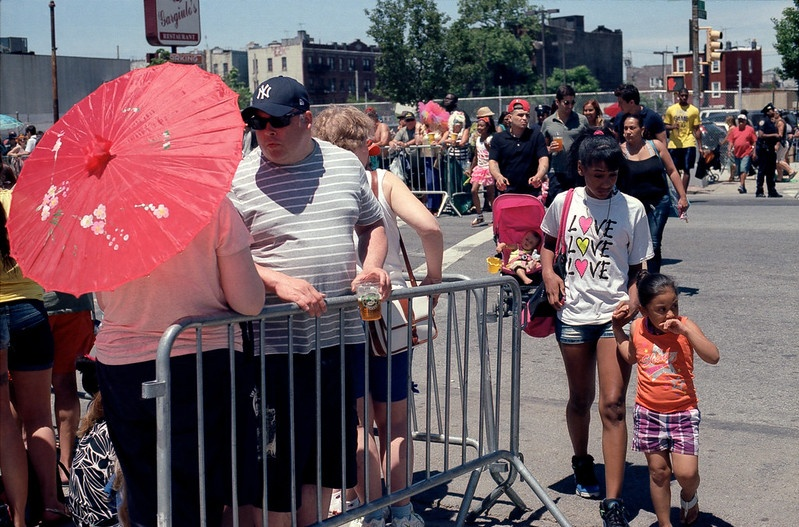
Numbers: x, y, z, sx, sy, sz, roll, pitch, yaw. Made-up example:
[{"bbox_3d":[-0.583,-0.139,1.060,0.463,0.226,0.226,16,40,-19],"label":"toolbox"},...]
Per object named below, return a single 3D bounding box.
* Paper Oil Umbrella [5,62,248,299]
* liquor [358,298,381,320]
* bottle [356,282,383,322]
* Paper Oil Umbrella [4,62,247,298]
[{"bbox_3d":[-1.526,-0.486,6.355,1.234,1.350,0.335,-18,-30,21],"label":"Paper Oil Umbrella"},{"bbox_3d":[-0.181,0.293,6.980,0.123,0.130,0.115,0,5,17],"label":"liquor"},{"bbox_3d":[-0.175,0.226,6.991,0.196,0.234,0.206,-6,6,-17],"label":"bottle"},{"bbox_3d":[-1.595,-0.628,6.363,1.233,1.351,0.335,-18,-30,21],"label":"Paper Oil Umbrella"}]
